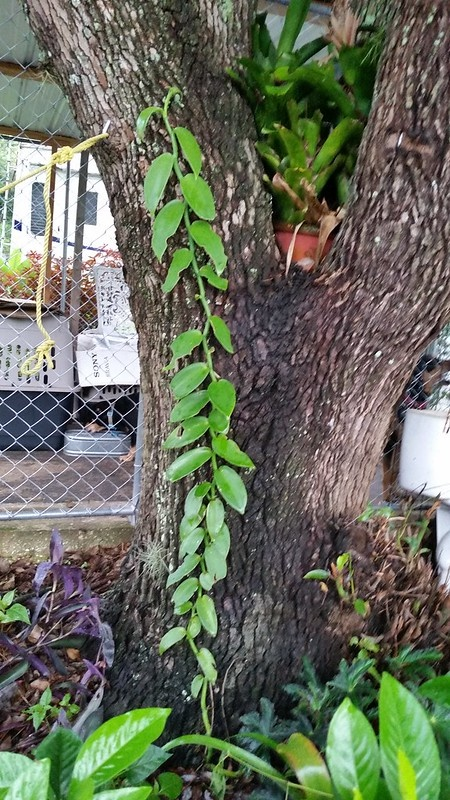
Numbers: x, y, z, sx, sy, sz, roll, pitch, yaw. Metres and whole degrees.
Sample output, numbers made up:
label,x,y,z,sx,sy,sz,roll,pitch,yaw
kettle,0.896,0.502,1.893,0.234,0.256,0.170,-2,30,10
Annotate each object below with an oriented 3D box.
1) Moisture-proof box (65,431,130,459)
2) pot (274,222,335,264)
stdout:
label,x,y,z,sx,sy,sz,roll,pitch,yaw
Moisture-proof box,-0.572,0.198,3.119,0.303,0.126,0.290,6,0,-16
pot,0.137,-0.290,1.257,0.069,0.049,0.070,3,12,-1
